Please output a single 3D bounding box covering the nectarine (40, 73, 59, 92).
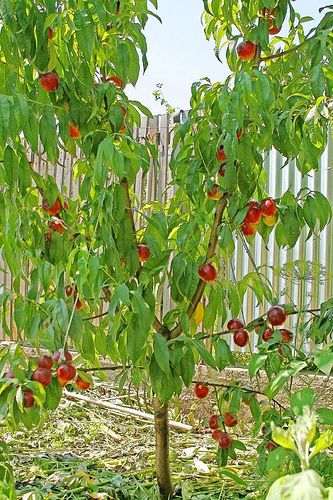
[{"bbox_3d":[-0.286,-0.408,1.558,0.037,0.031,0.032,42,4,37],"label":"nectarine"}]
